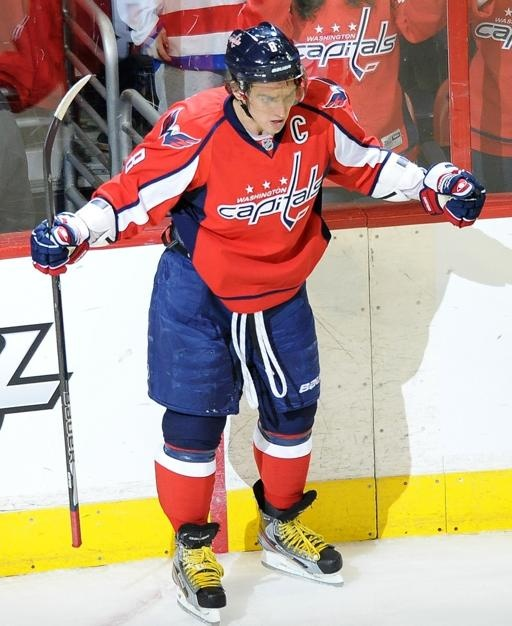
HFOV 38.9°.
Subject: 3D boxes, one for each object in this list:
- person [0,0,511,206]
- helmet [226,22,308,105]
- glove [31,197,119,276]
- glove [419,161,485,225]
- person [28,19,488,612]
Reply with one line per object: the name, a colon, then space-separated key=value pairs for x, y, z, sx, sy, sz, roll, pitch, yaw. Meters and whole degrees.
person: x=-0.051 y=-0.582 z=1.929 sx=0.828 sy=0.607 sz=0.233 roll=3 pitch=-4 yaw=-1
helmet: x=0.013 y=-0.542 z=1.519 sx=0.133 sy=0.163 sz=0.154 roll=-8 pitch=12 yaw=-19
glove: x=-0.378 y=-0.162 z=1.590 sx=0.209 sy=0.116 sz=0.141 roll=-33 pitch=61 yaw=-27
glove: x=0.457 y=-0.260 z=1.716 sx=0.084 sy=0.176 sz=0.122 roll=-36 pitch=43 yaw=24
person: x=0.007 y=0.074 z=1.784 sx=0.981 sy=1.463 sz=0.430 roll=-7 pitch=12 yaw=-11
